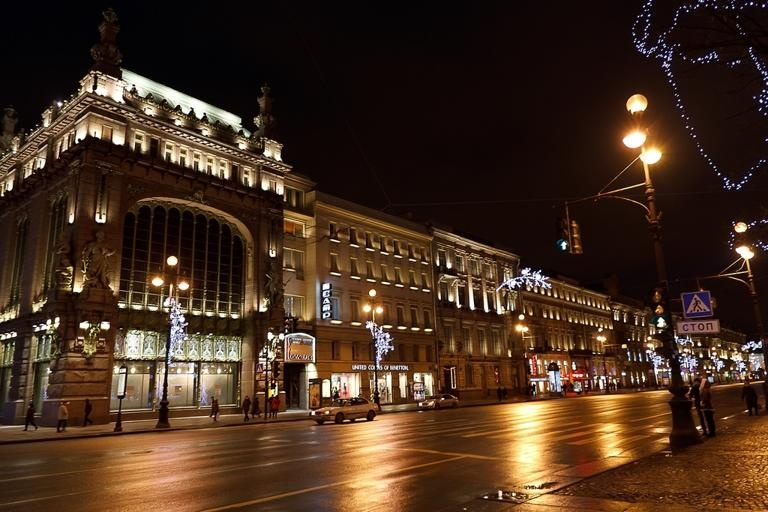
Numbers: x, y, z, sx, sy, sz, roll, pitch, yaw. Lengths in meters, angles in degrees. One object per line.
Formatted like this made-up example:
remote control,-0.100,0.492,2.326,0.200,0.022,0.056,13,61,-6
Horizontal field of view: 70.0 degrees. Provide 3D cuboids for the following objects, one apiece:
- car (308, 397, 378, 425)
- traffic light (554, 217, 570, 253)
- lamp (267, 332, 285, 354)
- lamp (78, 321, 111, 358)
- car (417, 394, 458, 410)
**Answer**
car,-2.894,11.109,39.496,4.261,1.369,1.932,13,-23,-39
traffic light,7.808,-0.993,24.050,0.514,1.412,0.506,-7,-18,15
lamp,-9.931,7.877,50.025,0.525,2.113,1.890,-13,-20,31
lamp,-21.538,6.153,40.680,0.946,3.087,2.559,-7,-11,35
car,5.279,14.120,53.375,3.733,1.090,1.645,16,-24,-40
